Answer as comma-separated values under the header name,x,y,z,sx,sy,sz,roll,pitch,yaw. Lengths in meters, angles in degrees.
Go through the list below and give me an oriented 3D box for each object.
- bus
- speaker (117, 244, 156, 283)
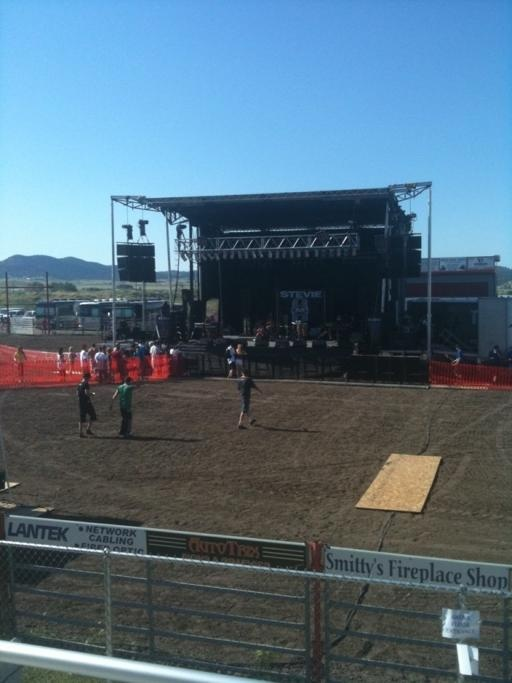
name,x,y,z,sx,sy,sz,roll,pitch,yaw
bus,-11.586,-1.857,62.610,8.439,2.399,2.363,1,11,11
speaker,-5.598,-3.680,39.558,1.695,1.759,2.772,-1,5,-9
